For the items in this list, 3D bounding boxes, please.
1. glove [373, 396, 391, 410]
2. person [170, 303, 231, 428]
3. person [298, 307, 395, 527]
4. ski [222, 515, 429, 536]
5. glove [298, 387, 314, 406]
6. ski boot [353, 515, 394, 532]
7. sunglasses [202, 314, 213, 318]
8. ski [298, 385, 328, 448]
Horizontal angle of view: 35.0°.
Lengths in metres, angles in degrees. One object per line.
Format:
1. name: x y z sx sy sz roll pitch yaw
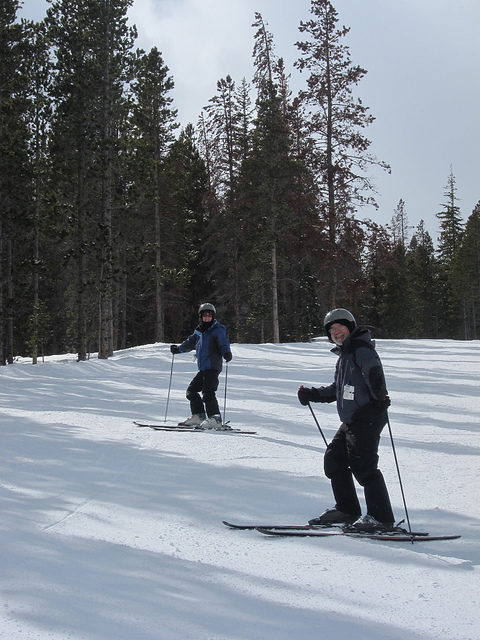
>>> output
1. glove: 0.989 0.580 5.341 0.112 0.094 0.196 0 -5 12
2. person: -0.500 0.599 10.175 0.468 1.600 0.988 4 -6 -35
3. person: 0.778 0.688 5.558 0.663 1.577 0.654 0 -5 10
4. ski: 0.575 1.447 5.347 1.702 0.093 0.174 -1 -14 -8
5. glove: 0.483 0.574 5.734 0.098 0.129 0.061 -13 -4 -34
6. ski boot: 0.914 1.415 5.277 0.279 0.096 0.116 2 12 5
7. sunglasses: -0.417 -0.057 10.090 0.077 0.044 0.160 -4 -6 45
8. ski: 0.823 1.136 8.653 0.167 1.125 0.169 -28 38 -8
